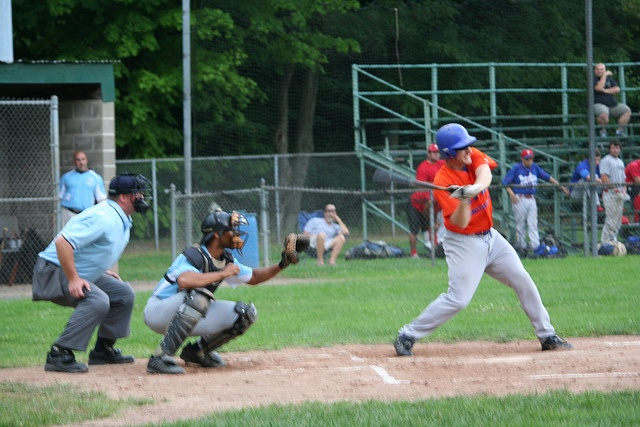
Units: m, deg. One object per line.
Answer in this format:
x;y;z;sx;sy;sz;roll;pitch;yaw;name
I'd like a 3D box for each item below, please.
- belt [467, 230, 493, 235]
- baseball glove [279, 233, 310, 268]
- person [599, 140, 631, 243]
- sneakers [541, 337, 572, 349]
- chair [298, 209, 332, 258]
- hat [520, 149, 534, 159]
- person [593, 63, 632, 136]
2.470;0.308;17.152;0.250;0.086;0.070;-1;0;-32;belt
-0.403;0.541;16.929;0.369;0.547;0.243;29;-15;-6;baseball glove
6.082;-0.443;23.428;0.568;2.168;0.753;0;0;14;person
3.603;2.028;17.448;0.542;0.254;0.192;-3;2;-4;sneakers
0.069;0.418;24.434;0.777;1.104;0.852;2;-11;-9;chair
4.337;-1.238;23.678;0.175;0.145;0.253;1;4;2;hat
6.701;-2.565;26.144;0.771;1.646;1.792;0;0;25;person
